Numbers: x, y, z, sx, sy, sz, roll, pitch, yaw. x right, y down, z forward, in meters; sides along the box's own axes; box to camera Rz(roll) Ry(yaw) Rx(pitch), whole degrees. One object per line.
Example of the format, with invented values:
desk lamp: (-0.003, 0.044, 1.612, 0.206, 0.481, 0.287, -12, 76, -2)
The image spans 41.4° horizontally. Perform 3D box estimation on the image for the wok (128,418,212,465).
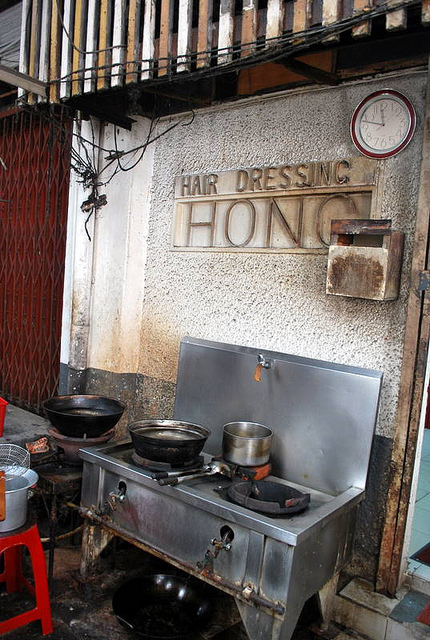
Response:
wok: (-0.275, 0.678, 3.187, 0.477, 0.161, 0.502, 8, 3, 19)

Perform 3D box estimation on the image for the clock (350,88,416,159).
clock: (0.884, -1.028, 3.004, 0.370, 0.384, 0.031, 4, 13, 35)

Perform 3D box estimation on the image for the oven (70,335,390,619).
oven: (0.034, 0.779, 3.170, 1.429, 1.199, 0.795, 8, 4, 40)

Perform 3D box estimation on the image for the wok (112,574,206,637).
wok: (-0.293, 1.503, 3.020, 0.485, 0.190, 0.369, 7, 3, 6)
